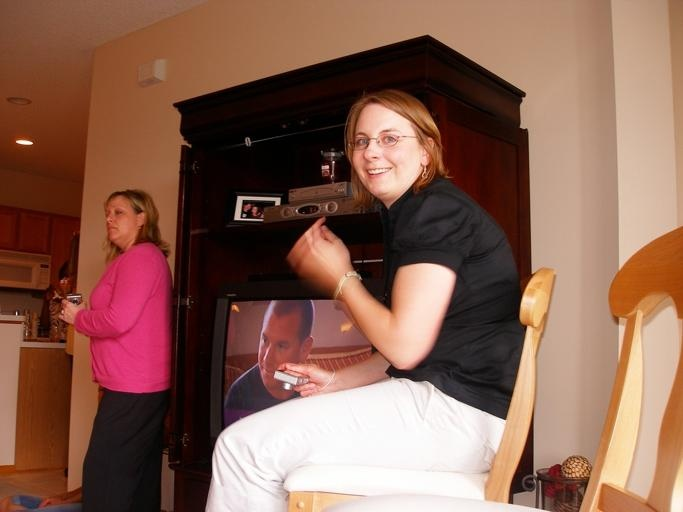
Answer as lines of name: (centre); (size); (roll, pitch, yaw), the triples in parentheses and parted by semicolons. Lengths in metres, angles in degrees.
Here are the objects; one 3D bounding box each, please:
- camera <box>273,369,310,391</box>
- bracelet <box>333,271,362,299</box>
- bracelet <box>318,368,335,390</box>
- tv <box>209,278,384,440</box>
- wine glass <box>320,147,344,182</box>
camera: (-0.118, 0.307, 1.324); (0.080, 0.042, 0.073); (10, -5, 31)
bracelet: (0.012, 0.054, 1.188); (0.022, 0.062, 0.053); (23, 5, 20)
bracelet: (-0.027, 0.290, 1.284); (0.042, 0.020, 0.030); (-44, 16, -17)
tv: (-0.133, 0.310, 1.670); (0.618, 0.591, 0.341); (-3, -7, 31)
wine glass: (-0.040, -0.400, 2.443); (0.129, 0.166, 0.139); (-1, -1, 16)
